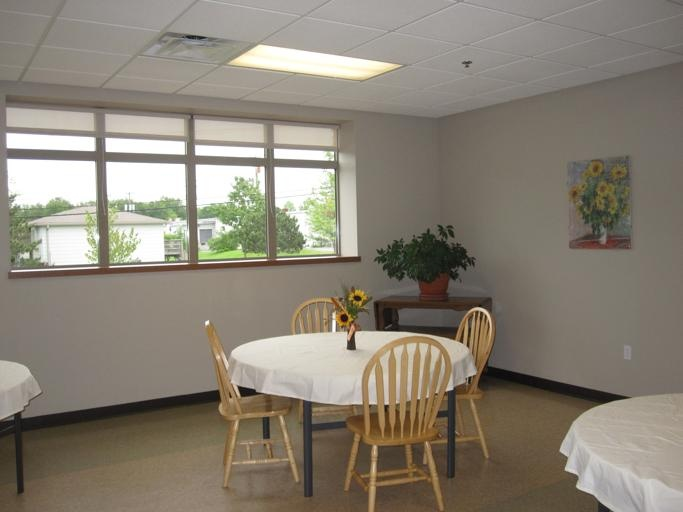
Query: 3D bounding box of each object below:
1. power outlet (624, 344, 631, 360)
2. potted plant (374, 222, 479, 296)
[{"bbox_3d":[2.854,0.963,5.196,0.012,0.153,0.081,-4,6,-32],"label":"power outlet"},{"bbox_3d":[0.929,0.120,6.351,0.843,0.759,1.025,1,-5,-25],"label":"potted plant"}]
